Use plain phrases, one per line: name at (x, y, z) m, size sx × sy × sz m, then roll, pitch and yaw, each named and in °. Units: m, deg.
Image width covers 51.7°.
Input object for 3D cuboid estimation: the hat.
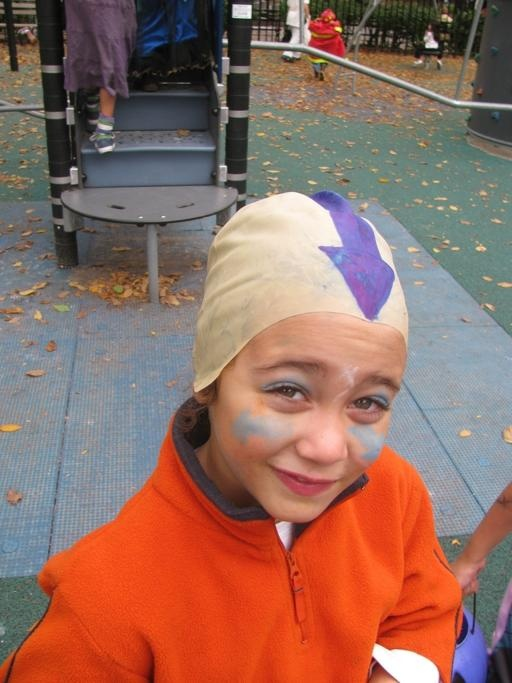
hat at (0.065, -0.061, 0.953) m, size 0.345 × 0.360 × 0.349 m, roll -6°, pitch 12°, yaw -8°
